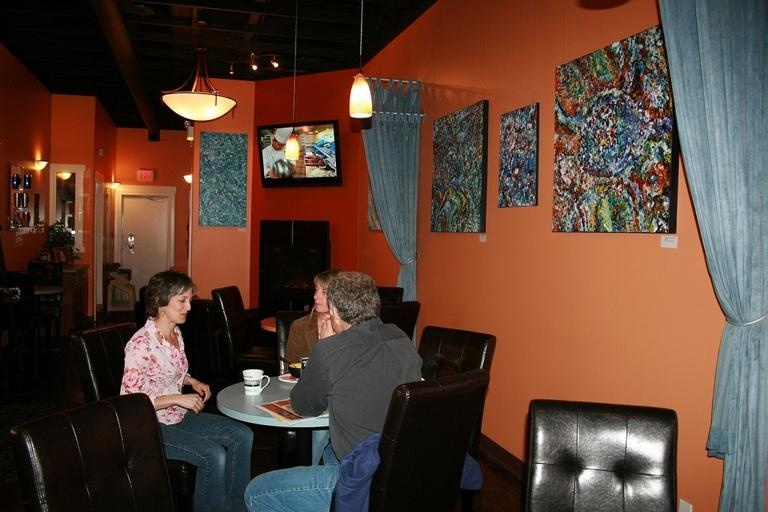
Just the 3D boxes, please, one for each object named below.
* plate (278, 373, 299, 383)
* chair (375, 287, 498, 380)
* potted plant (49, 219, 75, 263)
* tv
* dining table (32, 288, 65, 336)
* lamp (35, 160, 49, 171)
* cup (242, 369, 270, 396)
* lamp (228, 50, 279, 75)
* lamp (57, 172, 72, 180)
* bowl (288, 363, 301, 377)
[{"bbox_3d":[-0.666,0.853,4.023,0.145,0.034,0.145,4,1,-21],"label":"plate"},{"bbox_3d":[0.516,0.657,4.516,0.538,0.788,0.598,2,-16,46],"label":"chair"},{"bbox_3d":[-5.402,-0.214,9.699,0.380,0.678,0.585,2,0,-31],"label":"potted plant"},{"bbox_3d":[-1.198,-1.459,8.377,1.469,0.919,0.471,2,0,34],"label":"tv"},{"bbox_3d":[-4.769,0.847,8.271,0.317,0.732,2.196,2,0,-29],"label":"dining table"},{"bbox_3d":[-5.637,-1.478,9.514,0.165,0.083,0.194,-4,-15,-46],"label":"lamp"},{"bbox_3d":[-0.831,0.827,3.824,0.127,0.138,0.192,-8,-13,40],"label":"cup"},{"bbox_3d":[-1.824,-2.764,8.355,0.521,0.230,0.536,1,16,7],"label":"lamp"},{"bbox_3d":[-5.719,-1.428,10.419,0.138,0.119,0.147,-1,-8,1],"label":"lamp"},{"bbox_3d":[-0.612,0.785,3.993,0.088,0.062,0.089,-1,-4,0],"label":"bowl"}]
